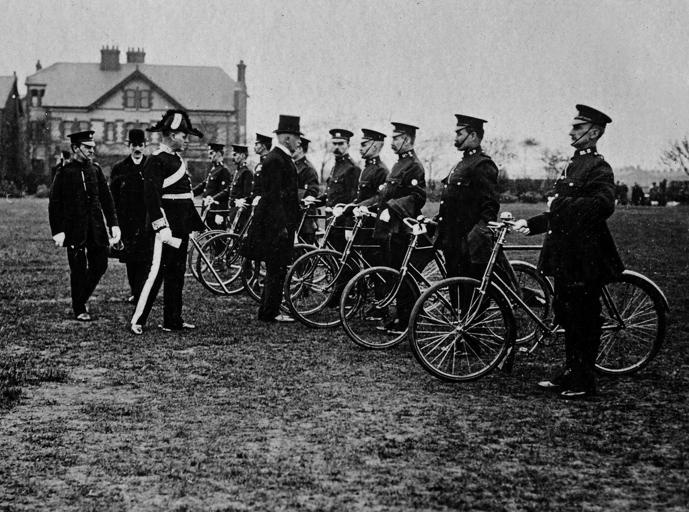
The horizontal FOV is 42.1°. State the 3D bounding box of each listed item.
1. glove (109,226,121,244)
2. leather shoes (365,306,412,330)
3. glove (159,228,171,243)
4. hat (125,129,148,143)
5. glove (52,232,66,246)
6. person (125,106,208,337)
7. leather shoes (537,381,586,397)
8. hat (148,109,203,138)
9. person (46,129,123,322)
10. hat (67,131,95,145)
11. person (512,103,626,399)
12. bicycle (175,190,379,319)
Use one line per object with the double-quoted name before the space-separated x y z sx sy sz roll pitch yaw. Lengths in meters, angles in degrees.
"glove" -2.765 -0.254 10.868 0.076 0.233 0.157 10 -5 -40
"leather shoes" 0.519 0.682 10.137 0.593 0.275 0.205 5 4 41
"glove" -1.969 -0.235 9.810 0.132 0.140 0.135 3 11 6
"hat" -2.648 -1.506 11.354 0.211 0.130 0.251 1 10 -9
"glove" -3.336 -0.180 10.447 0.160 0.191 0.184 0 13 -22
"person" -1.973 -0.400 9.979 0.482 2.422 1.012 10 15 42
"leather shoes" 1.952 1.152 8.030 0.337 0.146 0.131 5 -1 29
"hat" -1.908 -1.505 10.106 0.457 0.336 0.810 5 13 20
"person" -3.065 -0.419 10.602 0.696 2.098 0.823 9 14 39
"hat" -3.123 -1.392 10.581 0.284 0.191 0.468 -3 13 -15
"person" 2.078 -0.077 8.080 0.753 2.491 0.795 8 13 35
"bicycle" -0.887 -0.021 11.803 2.299 1.537 1.265 12 10 -6
